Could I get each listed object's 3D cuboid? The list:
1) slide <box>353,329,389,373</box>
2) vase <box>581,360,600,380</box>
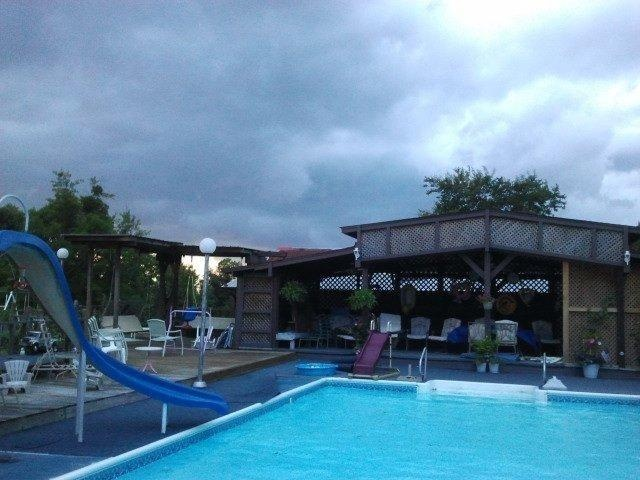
[{"bbox_3d":[1.380,2.886,14.554,0.587,0.309,1.948,0,16,20],"label":"slide"},{"bbox_3d":[6.985,3.357,14.363,0.372,0.309,0.404,1,-11,5],"label":"vase"}]
